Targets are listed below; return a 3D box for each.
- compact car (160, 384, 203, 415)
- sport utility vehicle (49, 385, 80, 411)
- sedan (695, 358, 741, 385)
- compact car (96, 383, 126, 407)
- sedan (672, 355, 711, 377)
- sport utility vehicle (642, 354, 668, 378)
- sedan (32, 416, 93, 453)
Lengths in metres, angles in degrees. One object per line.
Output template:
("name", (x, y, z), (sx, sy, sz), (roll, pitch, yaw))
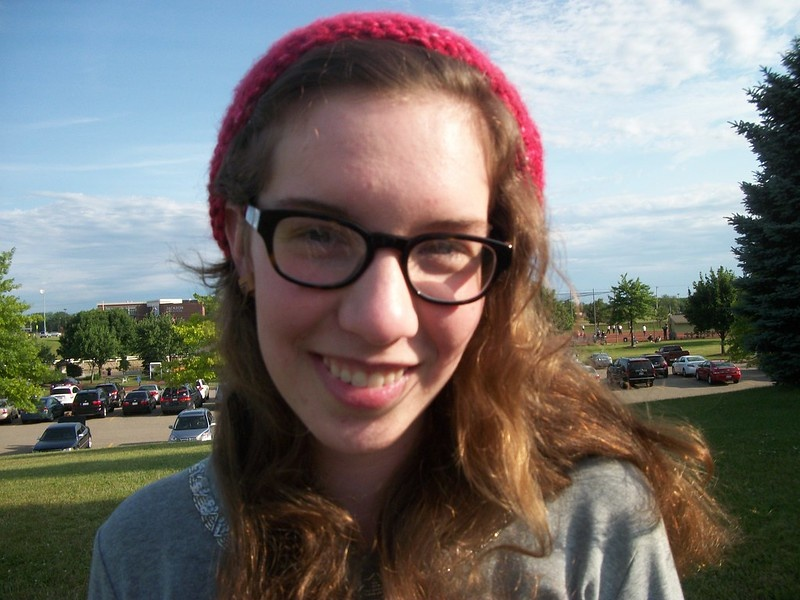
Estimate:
("compact car", (-11.146, 5.064, 34.731), (1.633, 1.462, 3.838), (0, 1, 4))
("sport utility vehicle", (-18.758, 5.506, 36.750), (1.101, 1.101, 2.025), (-1, 6, -8))
("sedan", (13.834, 3.164, 28.629), (0.916, 0.727, 2.105), (-1, 2, 5))
("compact car", (-17.374, 5.746, 39.635), (1.301, 1.156, 2.903), (0, 0, -7))
("sedan", (14.669, 3.427, 33.392), (0.865, 0.680, 1.988), (-1, 5, 1))
("sport utility vehicle", (12.348, 3.144, 31.455), (1.028, 1.102, 2.163), (0, 8, 10))
("sedan", (-10.354, 4.259, 20.538), (1.201, 0.929, 2.670), (0, -7, -10))
